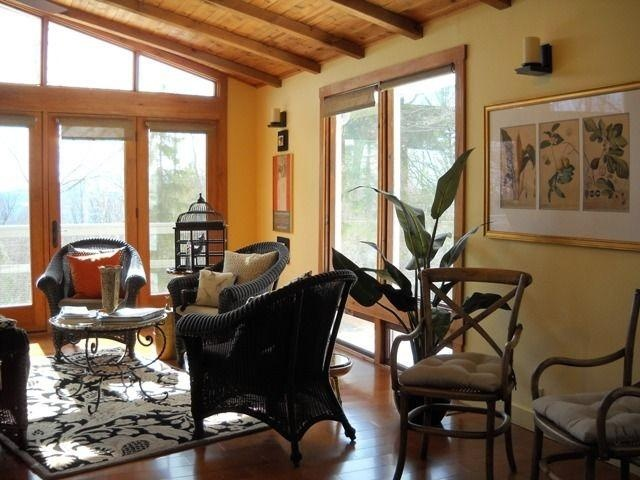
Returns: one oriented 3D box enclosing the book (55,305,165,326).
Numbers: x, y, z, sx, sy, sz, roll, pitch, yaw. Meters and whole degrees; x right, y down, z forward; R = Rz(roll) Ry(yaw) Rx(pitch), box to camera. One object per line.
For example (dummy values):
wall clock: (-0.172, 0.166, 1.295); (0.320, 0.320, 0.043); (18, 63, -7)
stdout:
book: (-1.625, 0.569, 4.078); (0.818, 0.094, 0.427); (2, 6, 12)

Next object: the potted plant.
potted plant: (1.028, 0.411, 4.412); (1.766, 2.044, 1.614); (2, -6, -7)

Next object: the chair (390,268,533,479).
chair: (0.871, 0.757, 3.281); (0.728, 1.166, 1.047); (3, 7, 21)

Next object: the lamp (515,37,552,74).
lamp: (1.390, -1.182, 3.450); (0.179, 0.225, 0.213); (6, 8, 40)

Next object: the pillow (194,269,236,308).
pillow: (-0.929, 0.445, 4.722); (0.291, 0.269, 0.104); (5, -25, 10)

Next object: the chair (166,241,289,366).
chair: (-0.877, 0.574, 5.198); (1.138, 1.312, 1.123); (-3, -4, 43)

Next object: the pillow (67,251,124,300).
pillow: (-2.114, 0.352, 4.988); (0.441, 0.399, 0.158); (-4, -35, -17)

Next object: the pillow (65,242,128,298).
pillow: (-2.144, 0.313, 5.097); (0.505, 0.450, 0.175); (-6, -20, -20)

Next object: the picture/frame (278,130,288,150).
picture/frame: (-0.438, -1.180, 6.339); (0.044, 0.258, 0.263); (1, 1, -26)

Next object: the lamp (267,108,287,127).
lamp: (-0.480, -1.399, 6.285); (0.200, 0.224, 0.238); (0, 2, -33)

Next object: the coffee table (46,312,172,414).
coffee table: (-1.667, 0.816, 4.287); (0.903, 0.588, 0.884); (2, -3, -26)

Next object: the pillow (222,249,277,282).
pillow: (-0.645, 0.250, 4.967); (0.311, 0.220, 0.111); (2, -10, 22)
